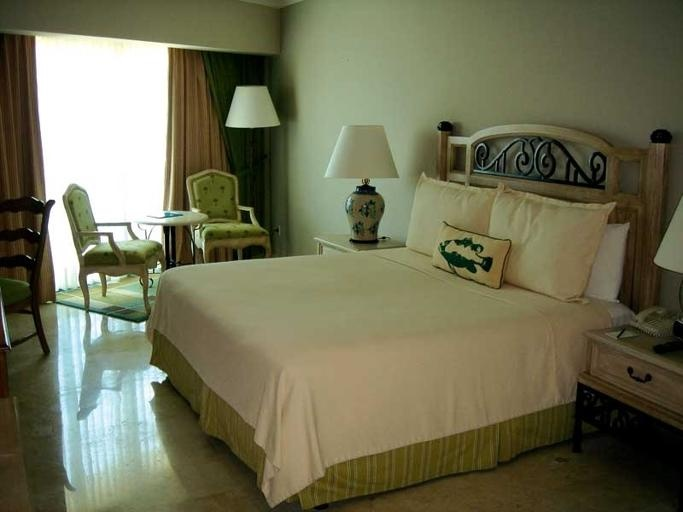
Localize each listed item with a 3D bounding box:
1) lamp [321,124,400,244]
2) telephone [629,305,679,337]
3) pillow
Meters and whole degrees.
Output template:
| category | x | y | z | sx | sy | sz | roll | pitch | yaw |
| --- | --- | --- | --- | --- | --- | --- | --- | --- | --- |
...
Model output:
| category | x | y | z | sx | sy | sz | roll | pitch | yaw |
| --- | --- | --- | --- | --- | --- | --- | --- | --- | --- |
| lamp | 0.180 | -0.637 | 4.964 | 0.616 | 0.997 | 0.410 | 1 | 13 | 4 |
| telephone | 1.743 | 0.348 | 3.114 | 0.184 | 0.066 | 0.139 | -14 | 22 | -35 |
| pillow | 1.084 | -0.151 | 3.823 | 0.354 | 0.589 | 1.382 | -10 | 16 | -36 |
